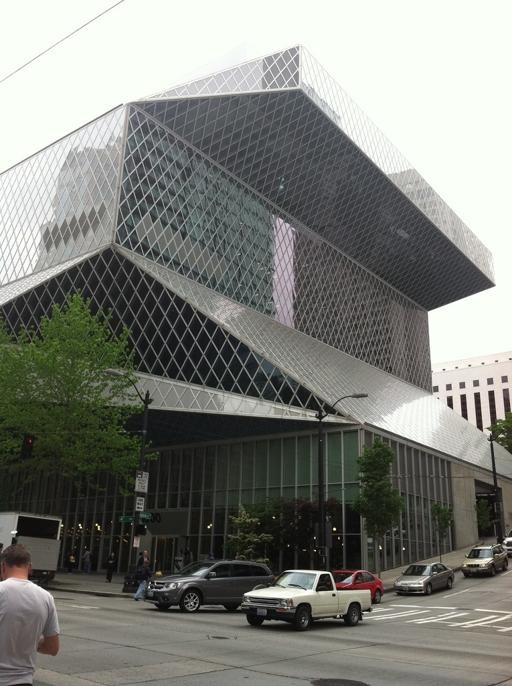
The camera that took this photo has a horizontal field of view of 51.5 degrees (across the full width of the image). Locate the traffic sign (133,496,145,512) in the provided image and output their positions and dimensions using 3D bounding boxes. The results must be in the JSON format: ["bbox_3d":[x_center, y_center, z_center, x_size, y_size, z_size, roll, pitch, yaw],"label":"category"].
[{"bbox_3d":[-5.604,7.724,25.277,0.365,0.715,0.635,6,-17,-16],"label":"traffic sign"}]

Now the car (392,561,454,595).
[{"bbox_3d":[8.642,12.075,27.114,1.414,1.075,3.248,-13,-27,30],"label":"car"}]

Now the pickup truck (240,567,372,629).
[{"bbox_3d":[1.438,7.309,15.479,1.780,1.366,3.457,-26,-44,32],"label":"pickup truck"}]

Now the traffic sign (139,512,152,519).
[{"bbox_3d":[-5.455,8.603,26.126,0.545,0.332,1.169,4,-18,-9],"label":"traffic sign"}]
